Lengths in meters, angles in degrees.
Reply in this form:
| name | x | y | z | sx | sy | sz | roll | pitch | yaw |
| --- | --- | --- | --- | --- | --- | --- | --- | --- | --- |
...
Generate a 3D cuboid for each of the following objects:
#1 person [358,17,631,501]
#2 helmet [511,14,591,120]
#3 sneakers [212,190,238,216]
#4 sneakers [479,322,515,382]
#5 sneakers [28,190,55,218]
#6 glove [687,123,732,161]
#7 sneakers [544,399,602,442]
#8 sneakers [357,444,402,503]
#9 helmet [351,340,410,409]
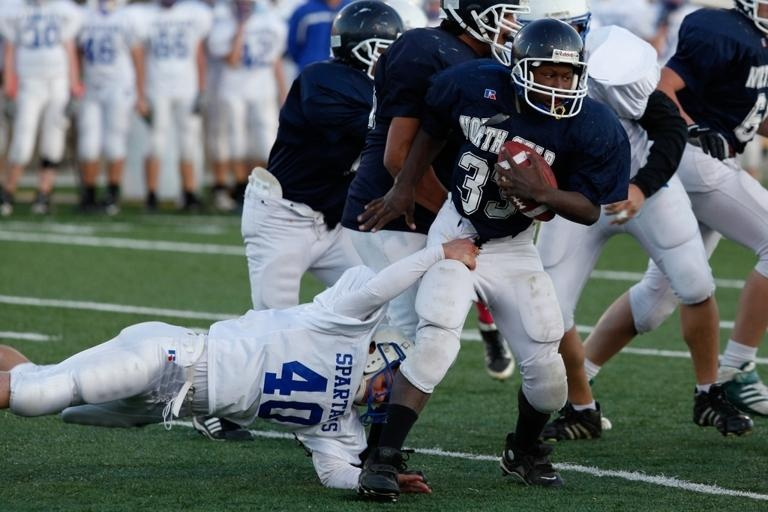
| name | x | y | z | sx | sy | sz | roll | pitch | yaw |
| --- | --- | --- | --- | --- | --- | --- | --- | --- | --- |
| person | 0.504 | 0.033 | 4.280 | 1.108 | 2.090 | 0.692 | 1 | 11 | 2 |
| helmet | 0.692 | -0.793 | 4.146 | 0.304 | 0.408 | 0.406 | -6 | 20 | -24 |
| sneakers | -1.790 | -0.580 | 10.934 | 0.272 | 0.211 | 0.234 | 11 | 27 | -23 |
| sneakers | 0.700 | 0.623 | 6.014 | 0.131 | 0.423 | 0.172 | -13 | -12 | 5 |
| sneakers | -2.244 | -0.332 | 6.391 | 0.092 | 0.137 | 0.295 | 12 | 9 | -15 |
| glove | 1.644 | -0.572 | 5.003 | 0.231 | 0.076 | 0.144 | 42 | 53 | 10 |
| sneakers | 0.982 | 0.870 | 5.136 | 0.394 | 0.211 | 0.138 | -2 | 2 | -2 |
| sneakers | -0.010 | 0.935 | 4.153 | 0.108 | 0.145 | 0.307 | 12 | -8 | -1 |
| helmet | -0.016 | 0.508 | 4.361 | 0.232 | 0.270 | 0.200 | 48 | -21 | -23 |
